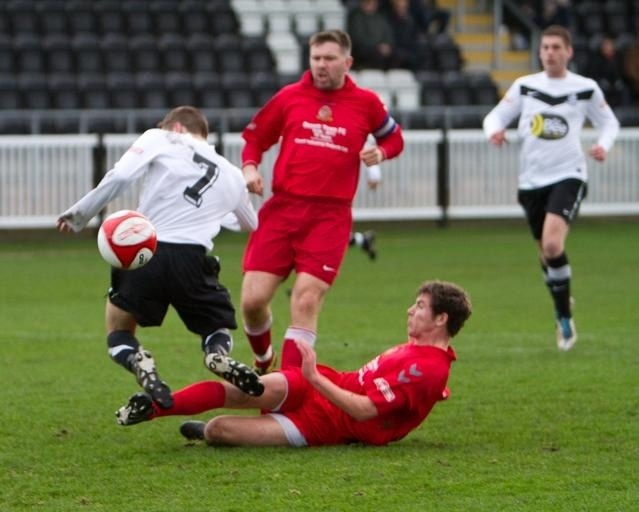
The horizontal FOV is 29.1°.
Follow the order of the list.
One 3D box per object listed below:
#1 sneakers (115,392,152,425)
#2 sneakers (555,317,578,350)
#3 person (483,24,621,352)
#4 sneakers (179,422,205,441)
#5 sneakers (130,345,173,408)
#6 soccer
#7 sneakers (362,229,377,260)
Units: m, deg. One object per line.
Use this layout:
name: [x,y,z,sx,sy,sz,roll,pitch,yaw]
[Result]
sneakers: [-1.276,1.095,8.720,0.268,0.188,0.105,-31,-8,5]
sneakers: [2.167,0.685,10.731,0.126,0.315,0.134,-2,-19,13]
person: [2.047,-0.620,10.988,1.002,2.800,0.989,5,12,26]
sneakers: [-0.940,1.307,9.133,0.157,0.102,0.138,1,2,22]
sneakers: [-1.189,0.892,8.863,0.187,0.535,0.227,-25,-30,-25]
soccer: [-1.396,-0.097,8.976,0.420,0.421,0.256,-1,11,-7]
sneakers: [0.619,-0.190,16.094,0.145,0.440,0.187,-1,-33,19]
